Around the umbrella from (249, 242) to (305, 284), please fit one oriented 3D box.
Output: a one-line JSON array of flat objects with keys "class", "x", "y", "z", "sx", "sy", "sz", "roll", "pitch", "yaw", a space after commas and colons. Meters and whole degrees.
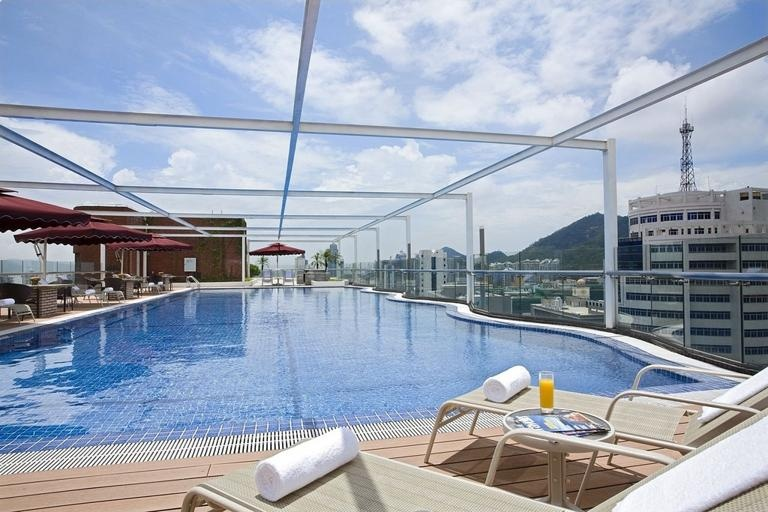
[{"class": "umbrella", "x": -5.286, "y": -0.022, "z": 22.504, "sx": 2.320, "sy": 1.171, "sz": 2.212, "roll": 9, "pitch": 14, "yaw": 37}]
